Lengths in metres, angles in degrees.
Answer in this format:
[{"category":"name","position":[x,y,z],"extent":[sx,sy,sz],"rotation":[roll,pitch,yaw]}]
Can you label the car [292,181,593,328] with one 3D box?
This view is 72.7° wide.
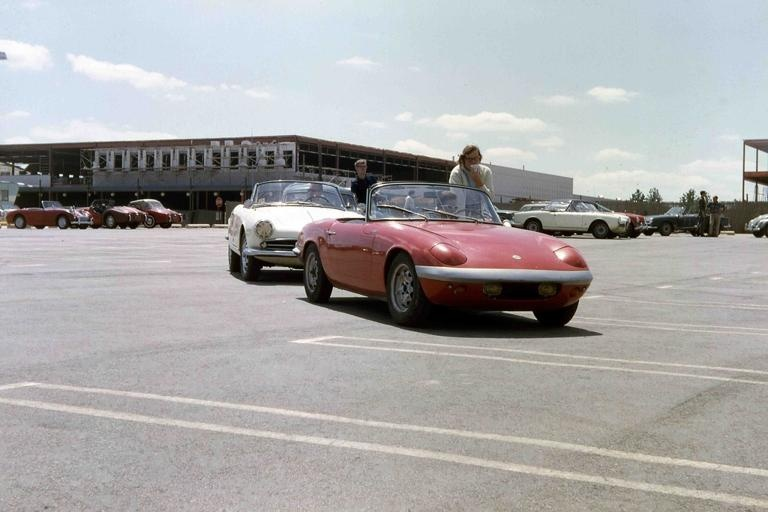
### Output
[{"category":"car","position":[0.706,-0.103,7.241],"extent":[3.910,1.941,1.930],"rotation":[6,5,41]}]
